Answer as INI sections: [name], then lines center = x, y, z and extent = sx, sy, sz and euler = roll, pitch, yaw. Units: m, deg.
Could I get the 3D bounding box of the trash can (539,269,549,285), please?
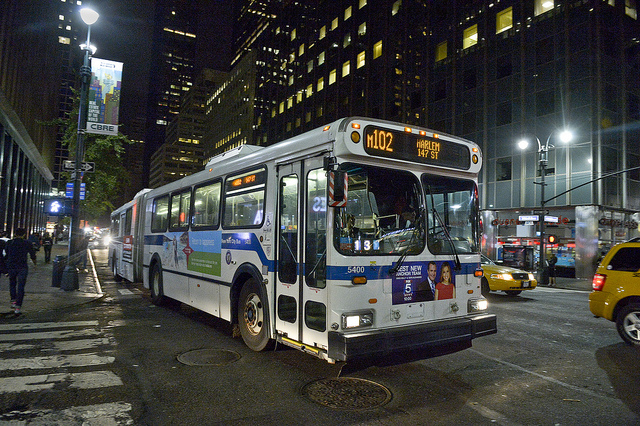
[trash can]
center = 13.011, 3.699, 29.255
extent = 0.634, 0.805, 0.505
euler = 0, 10, -3

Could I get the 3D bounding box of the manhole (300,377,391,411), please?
[manhole]
center = 0.638, 4.519, 12.584
extent = 2.157, 0.246, 1.104
euler = 1, 10, 0
